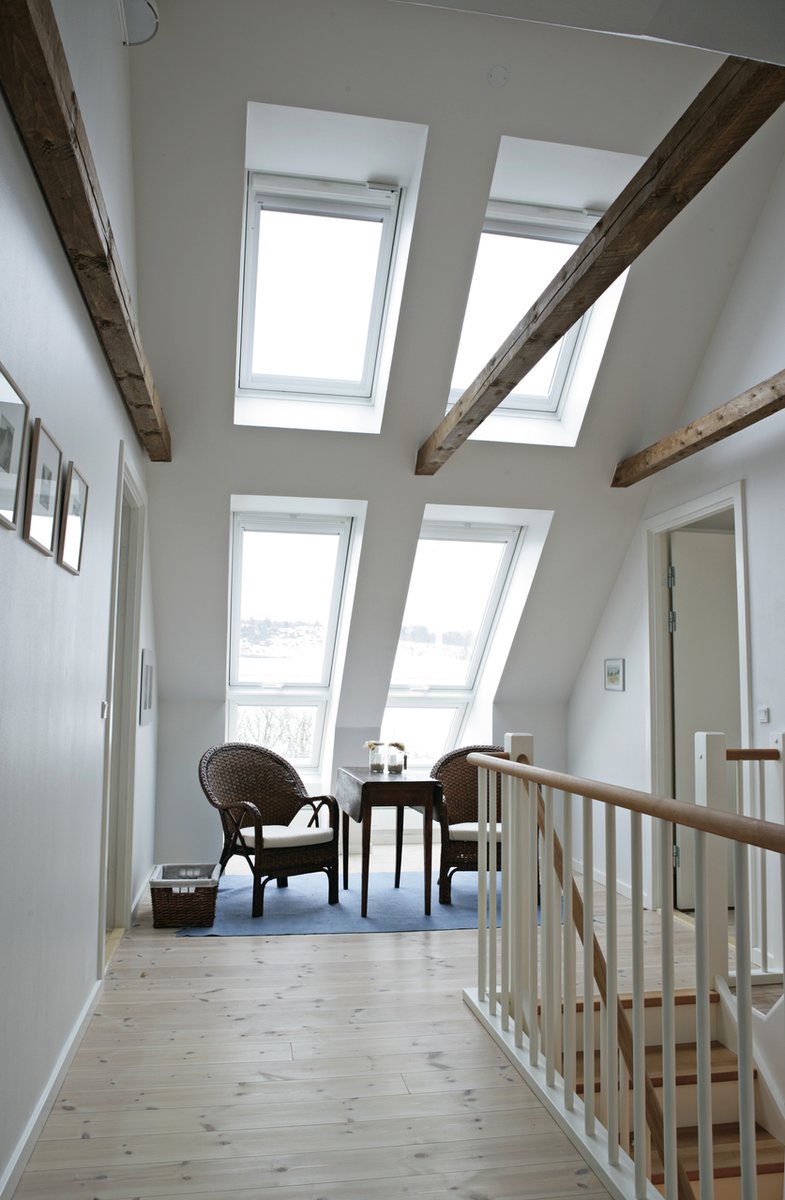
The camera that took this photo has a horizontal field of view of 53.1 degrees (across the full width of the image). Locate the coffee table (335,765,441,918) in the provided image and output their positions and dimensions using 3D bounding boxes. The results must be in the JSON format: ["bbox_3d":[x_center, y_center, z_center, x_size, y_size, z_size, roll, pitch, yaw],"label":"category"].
[{"bbox_3d":[-0.035,1.284,4.207,0.329,0.734,0.709,2,-6,-12],"label":"coffee table"}]

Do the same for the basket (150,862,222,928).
[{"bbox_3d":[-0.970,1.385,3.688,0.298,0.227,0.381,2,-8,-13],"label":"basket"}]

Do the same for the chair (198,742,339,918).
[{"bbox_3d":[-0.674,1.182,4.200,0.703,0.790,0.982,3,-8,-18],"label":"chair"}]

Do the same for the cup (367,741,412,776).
[{"bbox_3d":[-0.016,0.859,4.271,0.153,0.185,0.182,0,-3,-4],"label":"cup"}]
